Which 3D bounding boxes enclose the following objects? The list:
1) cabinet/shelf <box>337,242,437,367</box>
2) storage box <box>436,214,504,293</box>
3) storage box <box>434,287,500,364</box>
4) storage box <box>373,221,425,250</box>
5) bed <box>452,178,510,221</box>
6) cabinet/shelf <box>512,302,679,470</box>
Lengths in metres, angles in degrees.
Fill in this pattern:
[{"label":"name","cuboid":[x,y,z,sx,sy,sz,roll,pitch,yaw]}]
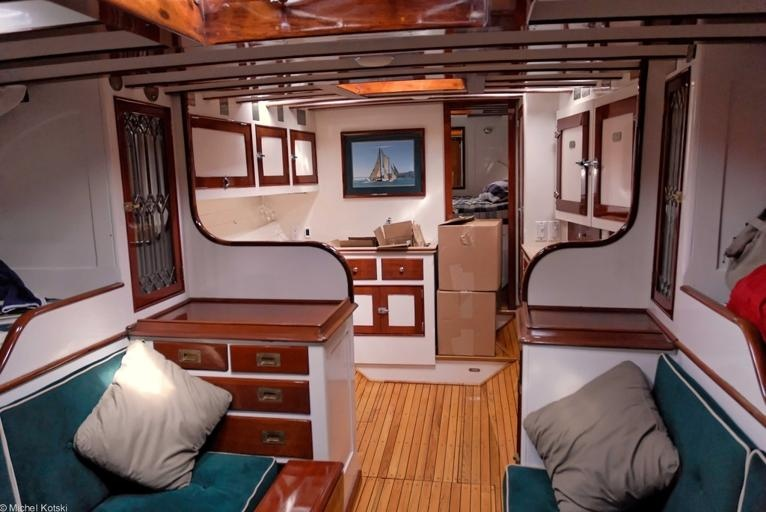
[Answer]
[{"label":"cabinet/shelf","cuboid":[0.068,0.429,4.853,1.061,1.220,0.490,-1,2,5]},{"label":"storage box","cuboid":[0.839,-0.014,5.165,0.593,0.628,0.613,0,1,12]},{"label":"storage box","cuboid":[0.773,0.640,5.097,0.566,0.580,0.572,1,0,5]},{"label":"storage box","cuboid":[0.165,-0.188,5.144,0.366,0.277,0.293,-4,18,6]},{"label":"bed","cuboid":[1.248,-0.664,6.972,0.683,0.286,0.715,0,10,9]},{"label":"cabinet/shelf","cuboid":[1.259,0.723,3.468,0.825,0.853,0.869,-1,4,6]}]
